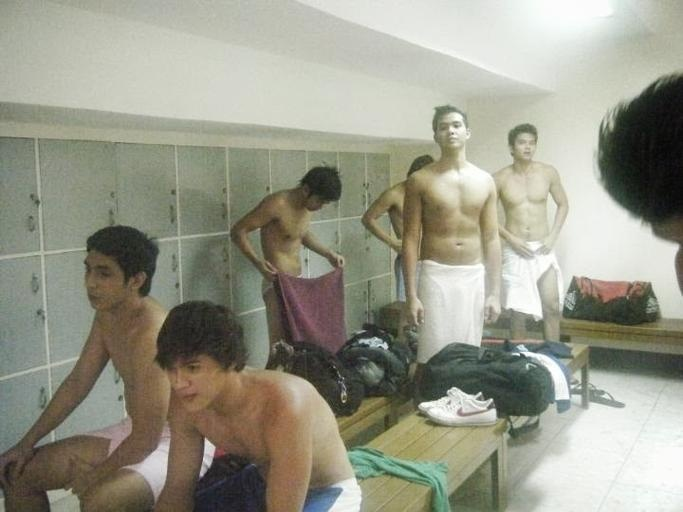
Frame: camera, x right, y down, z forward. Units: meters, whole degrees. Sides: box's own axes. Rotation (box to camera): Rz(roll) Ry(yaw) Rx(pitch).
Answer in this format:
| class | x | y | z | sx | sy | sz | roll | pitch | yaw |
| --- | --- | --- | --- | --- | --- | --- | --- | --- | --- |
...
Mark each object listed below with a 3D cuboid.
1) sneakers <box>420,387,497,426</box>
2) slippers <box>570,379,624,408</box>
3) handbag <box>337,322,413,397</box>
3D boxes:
| class | x | y | z | sx | sy | sz | roll | pitch | yaw |
| --- | --- | --- | --- | --- | --- | --- | --- | --- | --- |
| sneakers | 0.392 | 0.490 | 2.071 | 0.174 | 0.077 | 0.134 | 0 | -4 | 8 |
| slippers | 0.840 | 0.457 | 2.019 | 0.130 | 0.055 | 0.085 | 17 | 25 | 42 |
| handbag | 0.131 | 0.381 | 2.293 | 0.210 | 0.120 | 0.274 | -1 | 18 | -28 |
